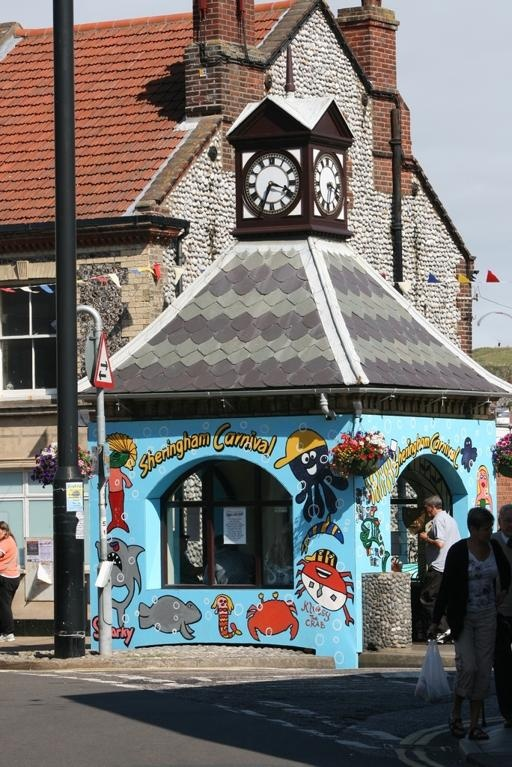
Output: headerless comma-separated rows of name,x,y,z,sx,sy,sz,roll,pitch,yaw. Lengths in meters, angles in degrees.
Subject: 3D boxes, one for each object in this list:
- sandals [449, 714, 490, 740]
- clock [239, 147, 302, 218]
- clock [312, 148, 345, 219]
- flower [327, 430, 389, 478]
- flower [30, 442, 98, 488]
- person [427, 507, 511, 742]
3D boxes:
sandals,1.414,2.293,10.468,0.319,0.134,0.110,0,2,41
clock,0.211,-2.430,18.818,0.803,0.886,0.068,0,4,35
clock,0.885,-2.428,19.033,0.045,0.721,0.676,-8,13,-28
flower,1.105,0.727,16.518,0.483,0.380,0.485,-4,7,-21
flower,-2.509,1.048,20.223,0.854,0.519,0.670,-4,-4,-4
person,1.468,1.738,10.670,0.500,1.742,0.912,-2,13,18
